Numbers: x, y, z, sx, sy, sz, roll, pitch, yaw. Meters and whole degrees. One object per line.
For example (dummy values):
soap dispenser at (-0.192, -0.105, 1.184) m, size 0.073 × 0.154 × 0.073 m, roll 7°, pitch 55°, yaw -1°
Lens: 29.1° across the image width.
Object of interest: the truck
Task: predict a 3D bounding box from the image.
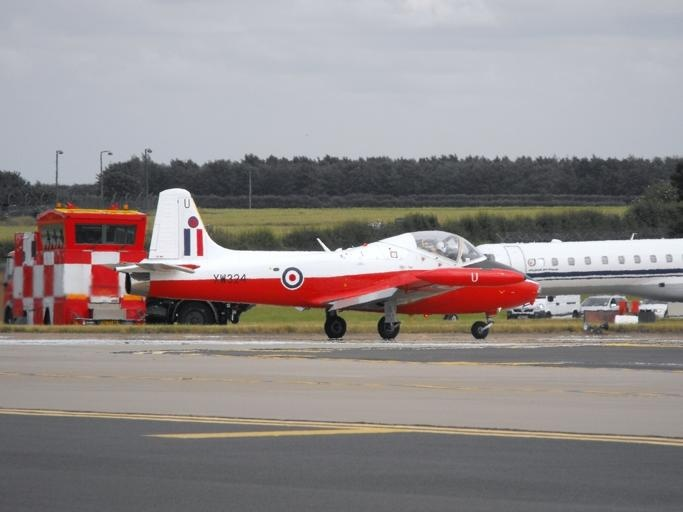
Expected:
truck at (-8.534, 0.208, 45.339) m, size 3.346 × 3.930 × 5.428 m, roll 0°, pitch 2°, yaw -33°
